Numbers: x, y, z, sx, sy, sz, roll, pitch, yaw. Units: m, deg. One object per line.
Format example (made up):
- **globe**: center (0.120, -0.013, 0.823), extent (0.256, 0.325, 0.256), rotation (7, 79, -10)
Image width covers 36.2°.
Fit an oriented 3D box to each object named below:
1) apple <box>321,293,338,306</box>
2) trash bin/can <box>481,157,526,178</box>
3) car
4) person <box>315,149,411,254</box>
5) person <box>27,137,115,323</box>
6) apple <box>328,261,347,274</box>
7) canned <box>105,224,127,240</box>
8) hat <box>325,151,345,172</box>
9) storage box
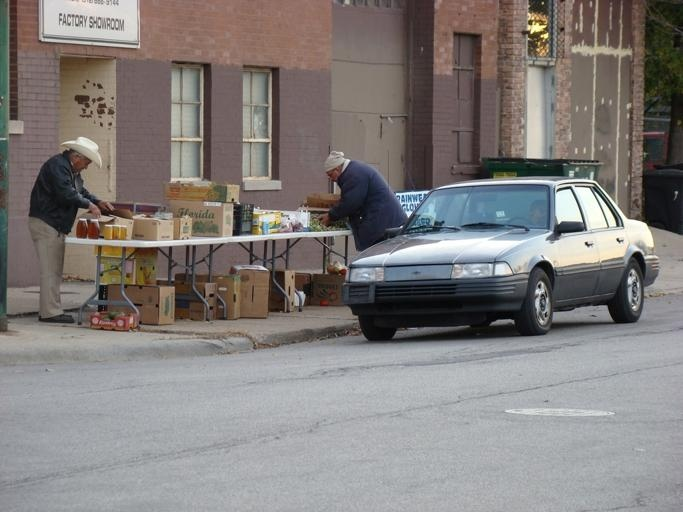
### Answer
- **apple**: center (-0.180, 0.658, 16.030), extent (0.205, 0.211, 0.145), rotation (4, -1, 9)
- **trash bin/can**: center (3.521, -2.010, 23.241), extent (0.445, 0.450, 1.413), rotation (-3, 3, -28)
- **car**: center (2.063, -0.008, 13.228), extent (4.238, 1.987, 1.854), rotation (-4, 3, -39)
- **person**: center (0.278, -0.535, 15.348), extent (1.065, 2.116, 0.872), rotation (-13, 9, 14)
- **person**: center (-3.550, -0.336, 13.393), extent (0.956, 2.359, 0.730), rotation (-2, 2, -8)
- **apple**: center (-0.072, 0.189, 16.366), extent (0.205, 0.087, 0.211), rotation (9, 6, 41)
- **canned**: center (-2.836, -0.293, 13.068), extent (0.183, 0.140, 0.197), rotation (1, -2, -13)
- **hat**: center (-0.109, -1.384, 15.128), extent (0.328, 0.340, 0.250), rotation (1, 5, -13)
- **storage box**: center (-1.570, -0.165, 15.718), extent (3.302, 1.886, 5.977), rotation (-2, 3, 0)
